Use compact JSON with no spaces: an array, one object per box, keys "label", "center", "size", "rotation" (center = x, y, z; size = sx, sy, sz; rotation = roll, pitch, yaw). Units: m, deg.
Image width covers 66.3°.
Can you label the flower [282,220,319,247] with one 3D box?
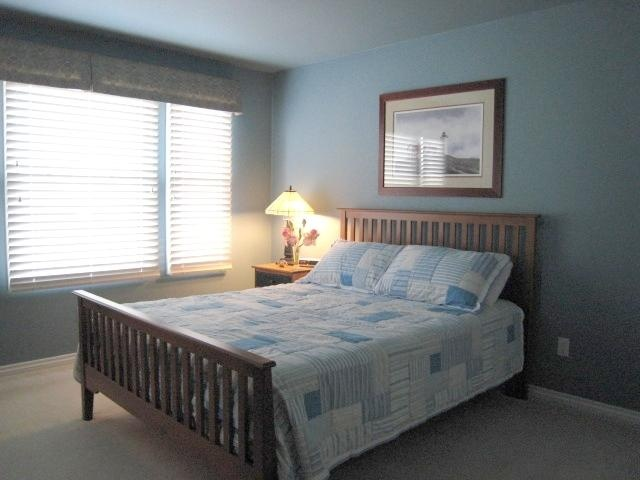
[{"label":"flower","center":[-0.193,-0.033,4.783],"size":[0.296,0.251,0.295],"rotation":[1,7,-38]}]

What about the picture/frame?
[{"label":"picture/frame","center":[1.023,-0.828,3.967],"size":[1.093,0.901,0.045],"rotation":[2,2,40]}]

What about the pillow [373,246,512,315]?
[{"label":"pillow","center":[0.816,0.256,3.463],"size":[0.618,0.166,0.529],"rotation":[6,34,35]}]
